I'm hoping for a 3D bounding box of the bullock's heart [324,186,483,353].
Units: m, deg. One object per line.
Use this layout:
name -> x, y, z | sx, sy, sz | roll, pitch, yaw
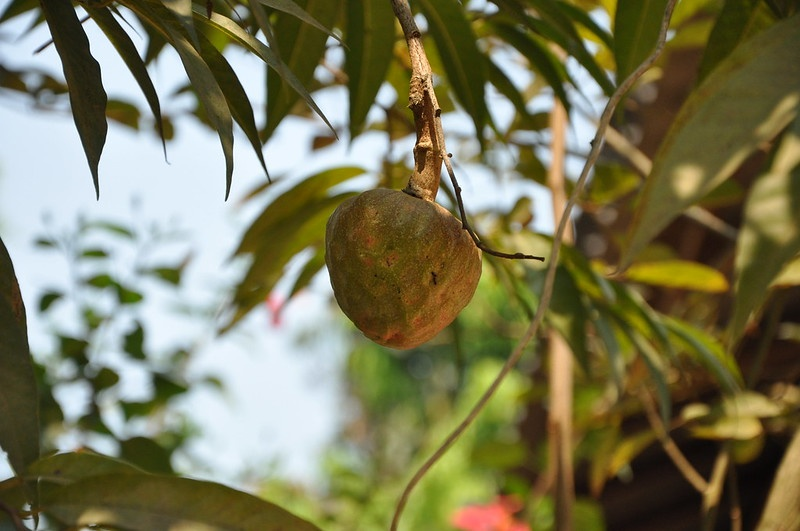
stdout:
bullock's heart -> 0.002, 0.006, 1.354 | 0.204, 0.193, 0.198 | 15, -9, -22
